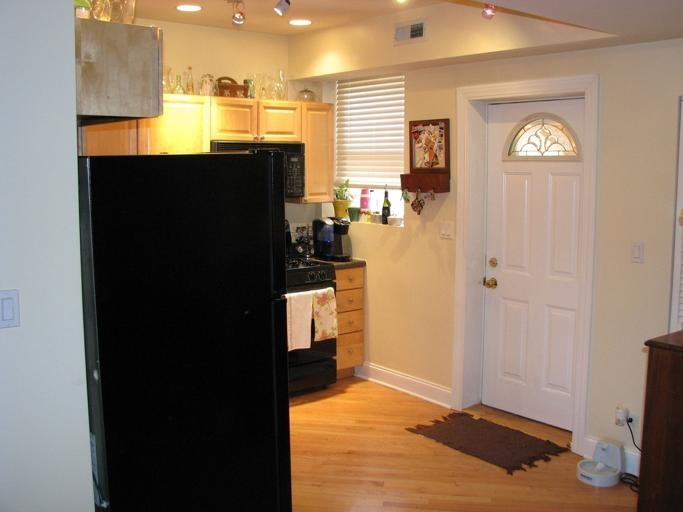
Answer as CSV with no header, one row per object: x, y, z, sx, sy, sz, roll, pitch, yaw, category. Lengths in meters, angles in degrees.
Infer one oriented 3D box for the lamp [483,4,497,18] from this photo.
1.031,-1.668,3.837,0.093,0.096,0.097,3,-2,14,lamp

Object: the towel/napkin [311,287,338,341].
-0.157,0.503,4.842,0.296,0.443,0.081,-9,13,-39,towel/napkin

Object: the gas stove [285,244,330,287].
-0.393,0.080,5.050,0.333,0.226,0.345,-4,5,-40,gas stove

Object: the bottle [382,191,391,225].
0.427,-0.463,5.260,0.091,0.308,0.258,0,10,4,bottle

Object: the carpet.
1.110,1.391,4.218,1.062,0.020,0.590,10,15,42,carpet

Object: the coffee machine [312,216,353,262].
-0.097,-0.161,5.317,0.452,0.439,0.285,2,5,26,coffee machine
